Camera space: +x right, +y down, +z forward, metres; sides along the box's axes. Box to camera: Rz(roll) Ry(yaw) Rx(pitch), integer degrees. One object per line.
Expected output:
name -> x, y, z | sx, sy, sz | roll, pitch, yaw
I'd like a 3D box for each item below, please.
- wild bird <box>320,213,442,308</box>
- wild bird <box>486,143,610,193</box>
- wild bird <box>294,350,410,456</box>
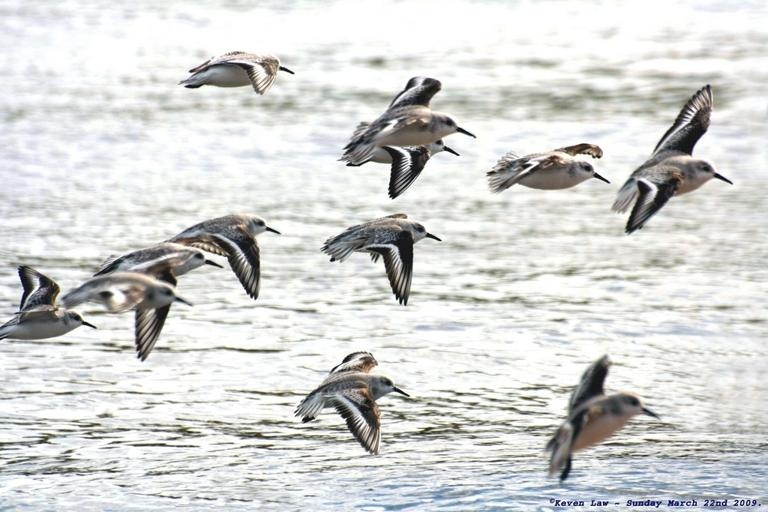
wild bird -> -0.096, 0.039, 11.827 | 1.154, 0.838, 1.183 | 1, 17, 1
wild bird -> 1.796, -0.978, 11.764 | 1.236, 0.253, 1.034 | 17, 19, 20
wild bird -> -0.377, 1.877, 11.400 | 1.059, 1.301, 1.412 | 1, 18, 0
